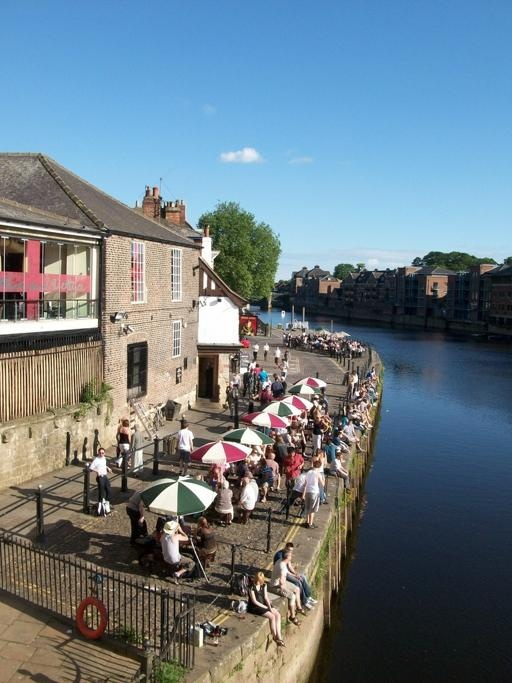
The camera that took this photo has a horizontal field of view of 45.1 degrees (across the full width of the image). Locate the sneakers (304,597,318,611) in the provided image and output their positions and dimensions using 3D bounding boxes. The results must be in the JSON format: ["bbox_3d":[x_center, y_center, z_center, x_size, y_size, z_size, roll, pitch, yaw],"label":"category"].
[{"bbox_3d":[0.934,4.635,10.869,0.237,0.113,0.320,0,-7,-17],"label":"sneakers"}]

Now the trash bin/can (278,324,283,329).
[{"bbox_3d":[3.263,-2.121,82.998,0.732,0.637,0.700,0,-4,3],"label":"trash bin/can"}]

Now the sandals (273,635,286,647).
[{"bbox_3d":[0.366,4.745,9.805,0.126,0.335,0.123,-16,37,2],"label":"sandals"}]

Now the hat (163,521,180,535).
[{"bbox_3d":[-1.457,3.201,10.598,0.245,0.180,0.244,-2,6,-20],"label":"hat"}]
